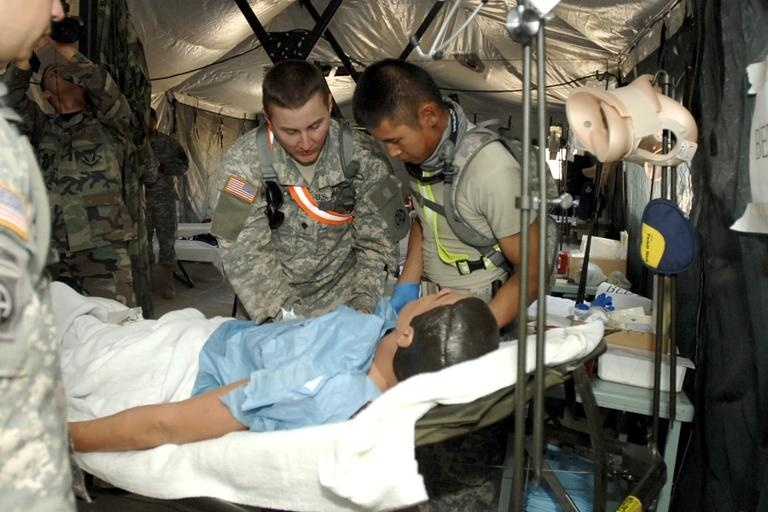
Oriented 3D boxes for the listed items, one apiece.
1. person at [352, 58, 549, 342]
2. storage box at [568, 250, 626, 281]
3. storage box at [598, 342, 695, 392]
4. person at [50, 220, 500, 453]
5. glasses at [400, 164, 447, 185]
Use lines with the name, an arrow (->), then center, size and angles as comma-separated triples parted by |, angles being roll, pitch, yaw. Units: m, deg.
person -> 0.274, -0.221, 2.795 | 0.650, 1.285, 0.831 | -34, 33, -30
storage box -> 1.539, 0.051, 4.466 | 0.287, 0.138, 0.217 | 2, 6, -3
storage box -> 1.029, 0.442, 2.665 | 0.327, 0.223, 0.104 | 3, -6, -18
person -> -0.275, 0.388, 2.357 | 1.206, 0.277, 0.763 | -13, 1, 13
glasses -> 0.175, -0.338, 2.673 | 0.096, 0.050, 0.115 | 6, -4, 15
